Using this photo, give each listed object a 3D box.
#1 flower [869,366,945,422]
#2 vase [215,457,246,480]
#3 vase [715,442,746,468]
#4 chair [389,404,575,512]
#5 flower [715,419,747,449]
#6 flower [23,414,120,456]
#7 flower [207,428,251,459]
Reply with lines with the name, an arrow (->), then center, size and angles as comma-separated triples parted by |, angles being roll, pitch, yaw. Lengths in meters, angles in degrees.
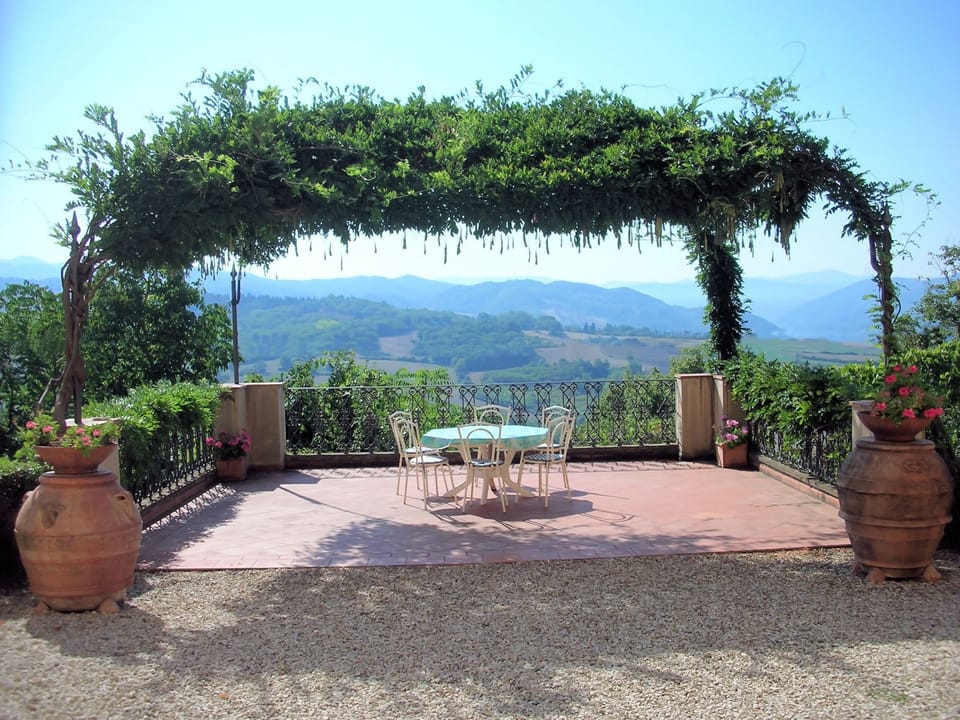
flower -> 3.257, 0.258, 5.822 | 0.415, 0.328, 0.444 | -4, 13, 19
vase -> -3.151, 1.366, 9.597 | 0.304, 0.323, 0.271 | 1, -5, -9
vase -> 3.287, 1.235, 9.999 | 0.285, 0.250, 0.309 | -2, 2, -4
chair -> 0.135, 1.076, 8.846 | 1.858, 1.039, 2.151 | 0, 6, 7
flower -> 3.261, 0.949, 9.955 | 0.305, 0.291, 0.373 | -4, 3, -3
flower -> -3.063, 0.555, 5.700 | 0.414, 0.278, 0.515 | 2, -3, -17
flower -> -3.146, 1.050, 9.565 | 0.305, 0.252, 0.345 | -1, 1, 0
